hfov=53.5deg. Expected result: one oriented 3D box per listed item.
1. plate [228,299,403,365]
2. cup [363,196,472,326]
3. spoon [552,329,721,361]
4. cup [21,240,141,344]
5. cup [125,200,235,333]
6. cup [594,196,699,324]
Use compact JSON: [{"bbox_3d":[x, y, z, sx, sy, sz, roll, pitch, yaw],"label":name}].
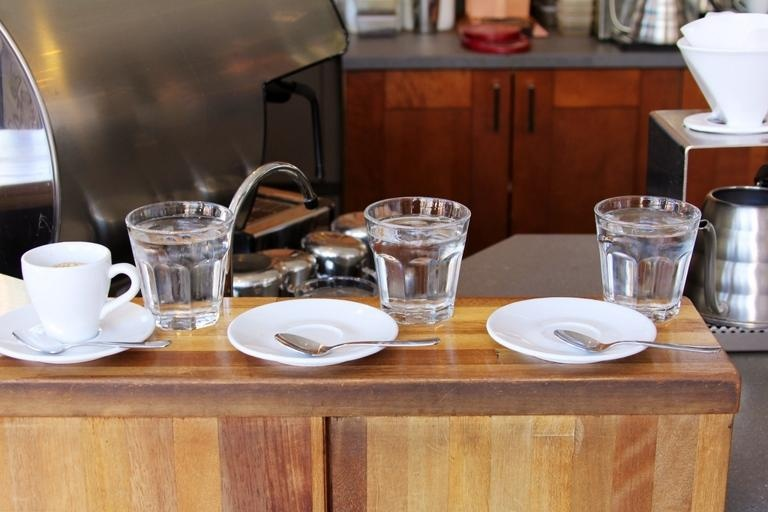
[{"bbox_3d":[-0.086,0.091,0.885,0.195,0.031,0.194,2,-19,-7],"label":"plate"},{"bbox_3d":[0.044,0.005,1.013,0.155,0.167,0.151,-1,20,0],"label":"cup"},{"bbox_3d":[0.285,0.104,0.881,0.119,0.014,0.023,4,14,11],"label":"spoon"},{"bbox_3d":[-0.360,0.047,0.909,0.130,0.104,0.103,2,18,-3],"label":"cup"},{"bbox_3d":[-0.250,0.021,0.974,0.134,0.148,0.135,-4,0,0],"label":"cup"},{"bbox_3d":[0.342,0.004,1.002,0.128,0.144,0.126,-2,18,1],"label":"cup"}]
